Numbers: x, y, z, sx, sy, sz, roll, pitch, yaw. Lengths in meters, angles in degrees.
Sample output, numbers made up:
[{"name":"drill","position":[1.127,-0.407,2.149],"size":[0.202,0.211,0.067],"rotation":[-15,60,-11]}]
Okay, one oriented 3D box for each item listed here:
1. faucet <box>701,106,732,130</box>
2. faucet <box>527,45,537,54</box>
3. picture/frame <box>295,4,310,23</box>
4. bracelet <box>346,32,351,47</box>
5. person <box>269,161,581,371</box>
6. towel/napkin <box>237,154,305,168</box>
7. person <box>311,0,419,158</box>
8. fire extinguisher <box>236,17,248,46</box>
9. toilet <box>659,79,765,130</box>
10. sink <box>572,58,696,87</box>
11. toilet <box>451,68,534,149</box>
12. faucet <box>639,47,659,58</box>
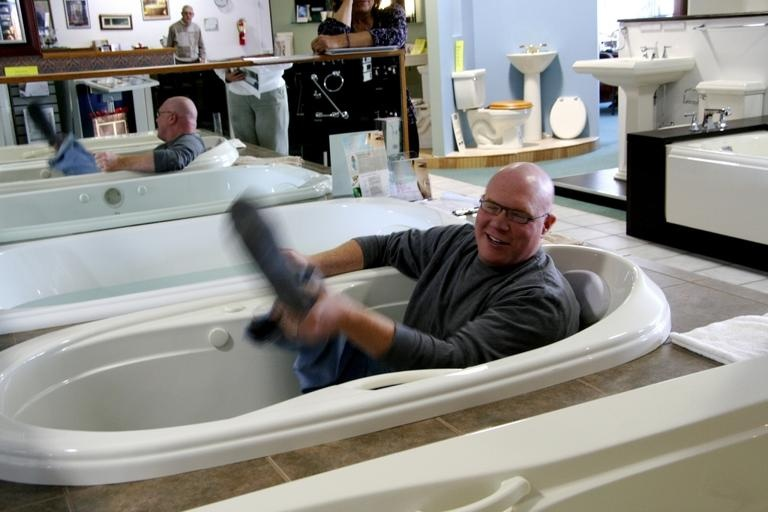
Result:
[{"name":"faucet","position":[2.618,-1.093,4.086],"size":[0.169,0.147,0.889],"rotation":[10,24,30]},{"name":"faucet","position":[1.970,-2.747,6.860],"size":[0.144,0.096,0.134],"rotation":[-18,25,-33]},{"name":"picture/frame","position":[-1.196,-3.537,7.513],"size":[0.245,0.283,0.036],"rotation":[-2,15,-15]},{"name":"bracelet","position":[-0.204,-1.225,2.936],"size":[0.028,0.069,0.041],"rotation":[-4,21,-2]},{"name":"person","position":[0.109,0.087,1.690],"size":[0.858,0.623,0.628],"rotation":[1,19,-12]},{"name":"towel/napkin","position":[-0.622,-0.520,2.832],"size":[0.385,0.058,0.106],"rotation":[-6,21,-22]},{"name":"person","position":[-0.139,-1.072,3.037],"size":[0.571,0.824,0.508],"rotation":[-3,21,0]},{"name":"fire extinguisher","position":[-1.981,-3.126,7.220],"size":[0.136,0.357,0.061],"rotation":[-10,22,-18]},{"name":"toilet","position":[2.873,-1.321,4.473],"size":[0.395,0.625,0.589],"rotation":[-13,19,-34]},{"name":"sink","position":[2.476,-1.752,4.878],"size":[0.494,0.178,0.529],"rotation":[-11,23,-23]},{"name":"toilet","position":[1.485,-1.927,6.798],"size":[1.009,0.979,0.641],"rotation":[9,28,30]},{"name":"faucet","position":[2.639,-2.026,5.142],"size":[0.062,0.109,0.194],"rotation":[-14,23,-27]}]
